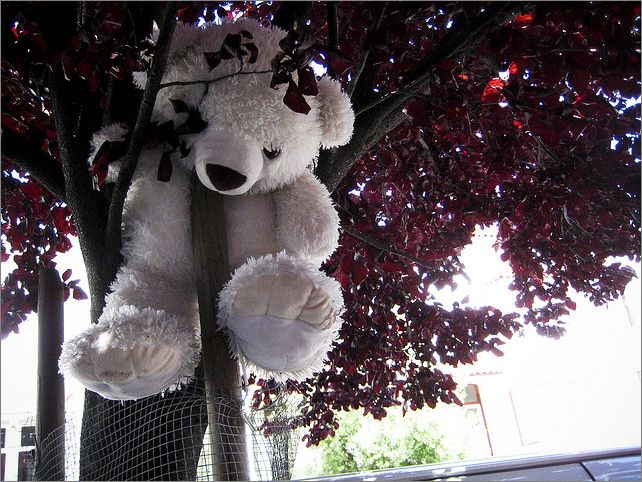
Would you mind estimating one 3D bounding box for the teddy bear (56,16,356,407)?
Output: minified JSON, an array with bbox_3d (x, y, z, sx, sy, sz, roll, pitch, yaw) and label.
[{"bbox_3d":[-0.404,-0.123,2.299,1.171,1.386,0.668,-22,-26,23],"label":"teddy bear"}]
